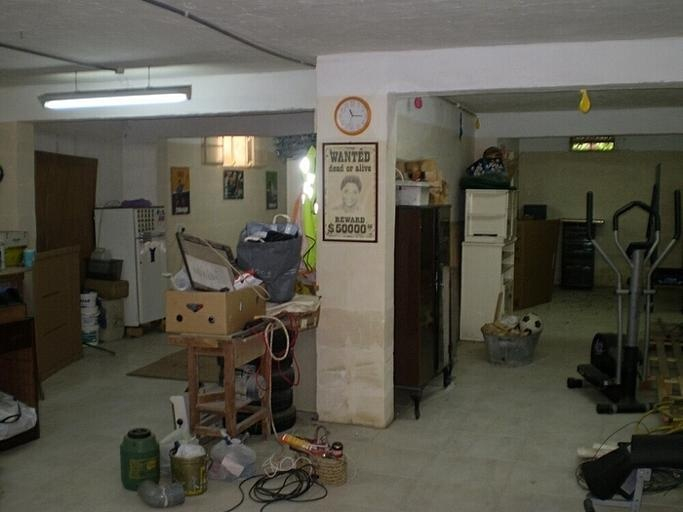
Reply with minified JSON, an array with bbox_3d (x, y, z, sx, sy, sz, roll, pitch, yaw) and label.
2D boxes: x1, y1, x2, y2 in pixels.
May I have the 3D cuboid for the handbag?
[{"bbox_3d":[-0.676,0.015,5.670,0.584,0.784,0.486,5,10,12],"label":"handbag"}]

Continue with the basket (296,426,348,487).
[{"bbox_3d":[-0.127,1.590,4.859,0.443,0.436,0.280,4,10,26],"label":"basket"}]

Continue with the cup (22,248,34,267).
[{"bbox_3d":[-3.282,0.010,6.330,0.161,0.241,0.160,3,-1,0],"label":"cup"}]

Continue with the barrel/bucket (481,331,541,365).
[{"bbox_3d":[2.161,1.147,7.667,0.744,0.402,0.734,-2,2,0],"label":"barrel/bucket"}]

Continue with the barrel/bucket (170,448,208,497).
[{"bbox_3d":[-1.170,1.665,4.661,0.316,0.302,0.302,0,-8,0],"label":"barrel/bucket"}]

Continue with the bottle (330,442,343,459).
[{"bbox_3d":[-0.031,1.542,4.801,0.105,0.121,0.108,0,-2,-1],"label":"bottle"}]

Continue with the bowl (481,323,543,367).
[{"bbox_3d":[2.078,1.081,7.438,0.506,0.273,0.481,-1,4,0],"label":"bowl"}]

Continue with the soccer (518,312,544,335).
[{"bbox_3d":[2.384,0.846,7.591,0.231,0.284,0.239,-2,-2,5],"label":"soccer"}]

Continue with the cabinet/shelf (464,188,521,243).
[{"bbox_3d":[2.113,-0.776,8.771,0.654,0.798,1.140,2,26,11],"label":"cabinet/shelf"}]

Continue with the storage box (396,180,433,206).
[{"bbox_3d":[0.734,-0.641,6.187,0.264,0.171,0.274,2,6,13],"label":"storage box"}]

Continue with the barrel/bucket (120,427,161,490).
[{"bbox_3d":[-1.519,1.612,4.685,0.245,0.413,0.247,-4,-19,-1],"label":"barrel/bucket"}]

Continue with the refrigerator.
[{"bbox_3d":[-2.921,0.146,8.576,0.874,1.649,0.413,-4,8,-20],"label":"refrigerator"}]

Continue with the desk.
[{"bbox_3d":[-0.951,1.093,5.151,0.759,0.963,0.762,-3,4,4],"label":"desk"}]

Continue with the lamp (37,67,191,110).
[{"bbox_3d":[-2.336,-1.734,6.172,1.504,0.374,0.262,-5,-11,0],"label":"lamp"}]

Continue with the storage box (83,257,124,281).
[{"bbox_3d":[-3.293,0.169,8.344,0.397,0.271,0.308,5,4,21],"label":"storage box"}]

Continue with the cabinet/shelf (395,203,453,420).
[{"bbox_3d":[0.840,0.494,6.279,0.456,2.048,1.135,1,7,17],"label":"cabinet/shelf"}]

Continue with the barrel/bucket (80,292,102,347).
[{"bbox_3d":[-3.394,0.845,8.172,0.258,0.720,0.172,-7,9,-37],"label":"barrel/bucket"}]

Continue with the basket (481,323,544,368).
[{"bbox_3d":[2.147,1.144,7.662,0.780,0.429,0.750,-3,4,-25],"label":"basket"}]
